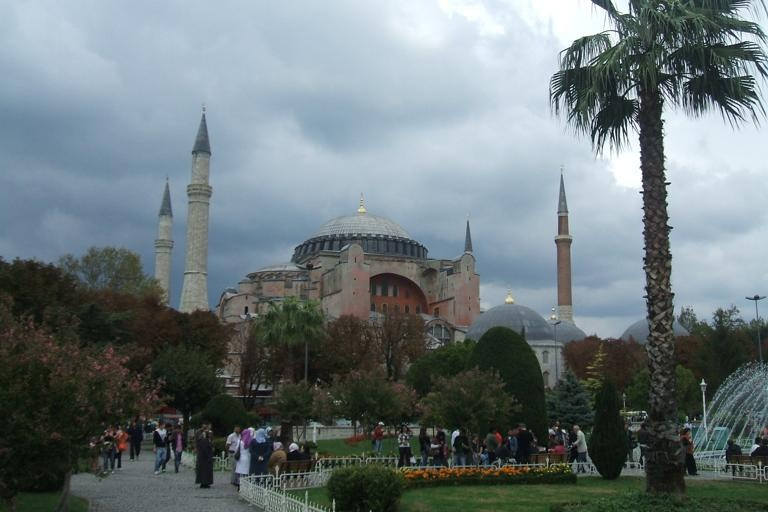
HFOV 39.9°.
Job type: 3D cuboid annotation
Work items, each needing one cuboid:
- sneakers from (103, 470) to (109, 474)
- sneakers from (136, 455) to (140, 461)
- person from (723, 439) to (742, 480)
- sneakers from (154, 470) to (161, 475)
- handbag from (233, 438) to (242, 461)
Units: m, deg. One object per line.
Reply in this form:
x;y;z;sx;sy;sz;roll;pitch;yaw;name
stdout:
-8.485;6.631;32.326;0.210;0.103;0.201;3;-9;-26;sneakers
-10.188;8.355;43.765;0.083;0.176;0.249;-2;-50;-5;sneakers
12.566;7.050;37.999;0.535;0.507;1.628;-5;-44;25;person
-8.320;7.973;38.828;0.092;0.177;0.269;5;-25;-26;sneakers
-4.867;6.502;35.236;0.131;0.629;0.496;6;-17;-22;handbag
